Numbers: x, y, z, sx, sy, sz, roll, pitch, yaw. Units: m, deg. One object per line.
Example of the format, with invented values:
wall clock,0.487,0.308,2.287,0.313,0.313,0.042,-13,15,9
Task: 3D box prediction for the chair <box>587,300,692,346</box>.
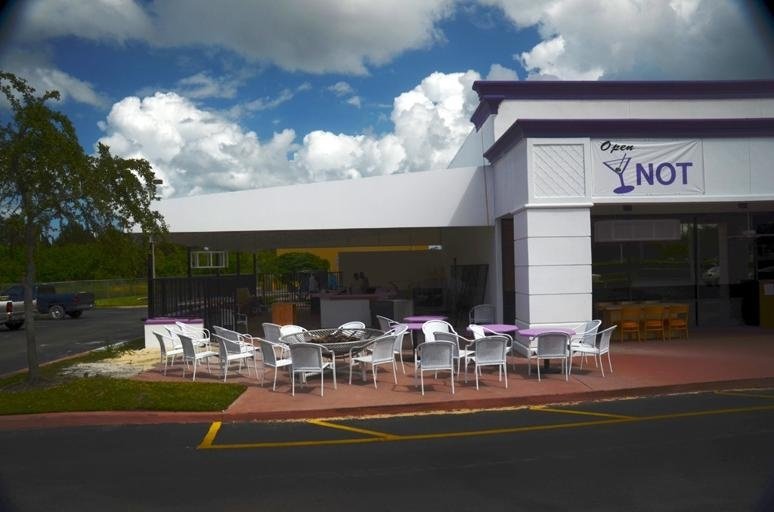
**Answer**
chair,7.500,1.916,17.260,2.449,1.063,1.196,-1,-2,-8
